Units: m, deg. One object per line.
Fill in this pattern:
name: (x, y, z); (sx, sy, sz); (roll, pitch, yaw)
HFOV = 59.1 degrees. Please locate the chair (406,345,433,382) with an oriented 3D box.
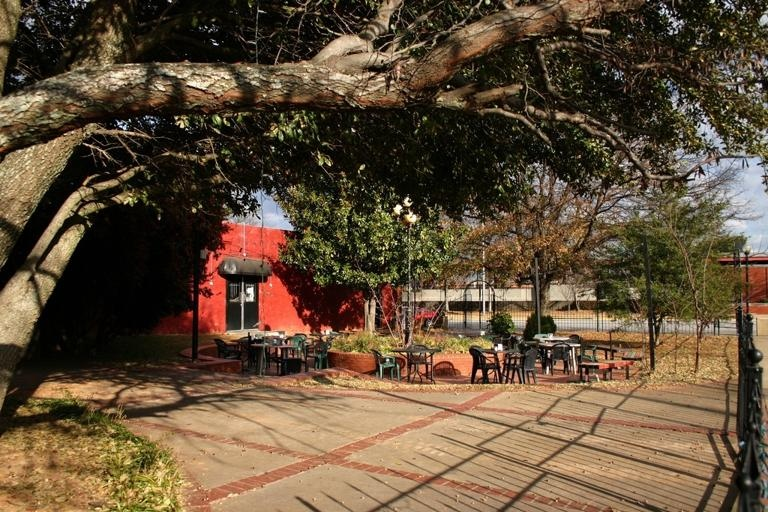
chair: (0.940, 2.783, 17.717); (0.872, 0.855, 0.855); (0, -12, -2)

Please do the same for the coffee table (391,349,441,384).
coffee table: (0.906, 2.857, 17.752); (0.968, 0.681, 0.974); (-1, -5, 20)

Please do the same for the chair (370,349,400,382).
chair: (0.021, 2.820, 17.692); (0.735, 0.954, 0.756); (-2, -3, -1)
